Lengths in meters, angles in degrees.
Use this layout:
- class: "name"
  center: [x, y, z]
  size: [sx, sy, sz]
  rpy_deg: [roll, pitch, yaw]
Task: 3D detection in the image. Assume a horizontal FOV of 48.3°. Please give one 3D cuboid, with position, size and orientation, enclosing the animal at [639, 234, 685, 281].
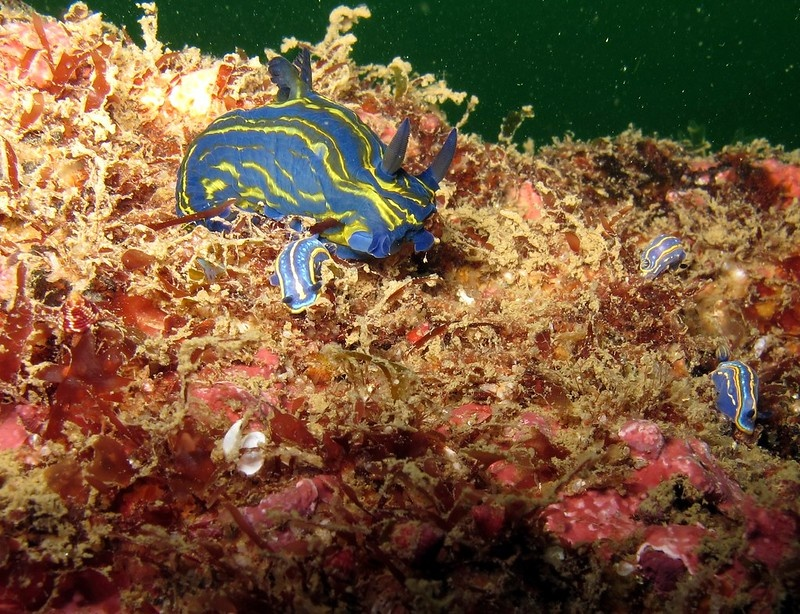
- class: "animal"
  center: [2.290, -0.411, 7.897]
  size: [0.309, 0.264, 0.594]
  rpy_deg: [26, 40, 30]
